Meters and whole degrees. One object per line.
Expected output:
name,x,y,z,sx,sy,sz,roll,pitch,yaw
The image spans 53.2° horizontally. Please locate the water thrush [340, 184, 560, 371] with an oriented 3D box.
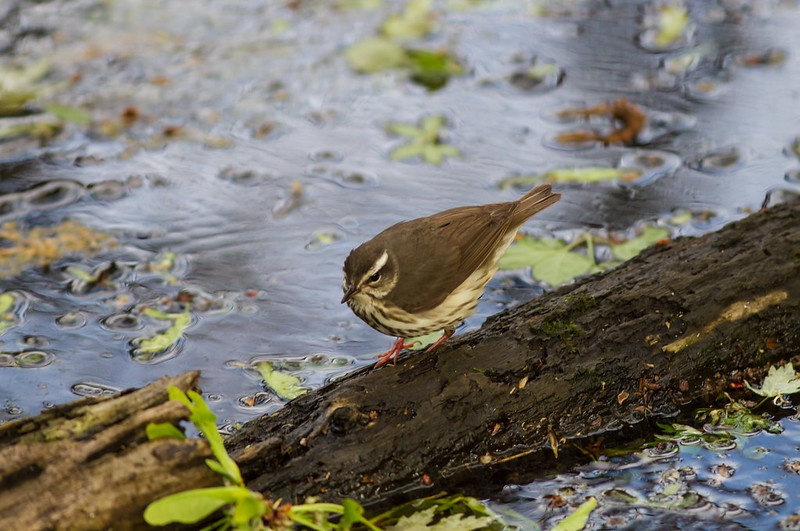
water thrush,0.341,0.029,6.693,2.356,0.954,0.702,-34,64,4
